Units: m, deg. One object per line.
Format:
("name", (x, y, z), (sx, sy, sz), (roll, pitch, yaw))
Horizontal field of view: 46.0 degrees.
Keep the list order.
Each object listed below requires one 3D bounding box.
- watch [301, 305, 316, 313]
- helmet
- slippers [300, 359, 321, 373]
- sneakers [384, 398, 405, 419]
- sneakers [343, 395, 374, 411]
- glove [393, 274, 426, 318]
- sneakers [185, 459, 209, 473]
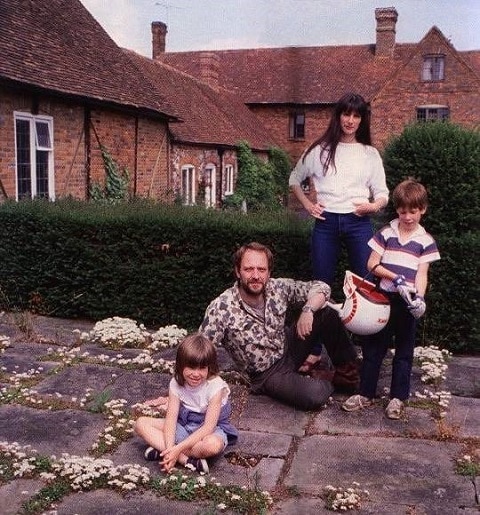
("watch", (0.484, 0.375, 3.932), (0.091, 0.066, 0.097), (1, 6, 8))
("helmet", (0.844, 0.339, 3.920), (0.389, 0.380, 0.291), (15, 13, 34))
("slippers", (0.526, 0.807, 4.201), (0.123, 0.046, 0.092), (-36, 11, 22))
("sneakers", (1.057, 1.032, 3.858), (0.071, 0.067, 0.144), (4, 24, 20))
("sneakers", (0.836, 1.009, 3.995), (0.204, 0.102, 0.083), (-2, 0, -29))
("glove", (1.064, 0.263, 3.566), (0.105, 0.273, 0.169), (-39, -35, 22))
("sneakers", (-0.245, 1.153, 3.132), (0.142, 0.074, 0.091), (2, 6, 11))
